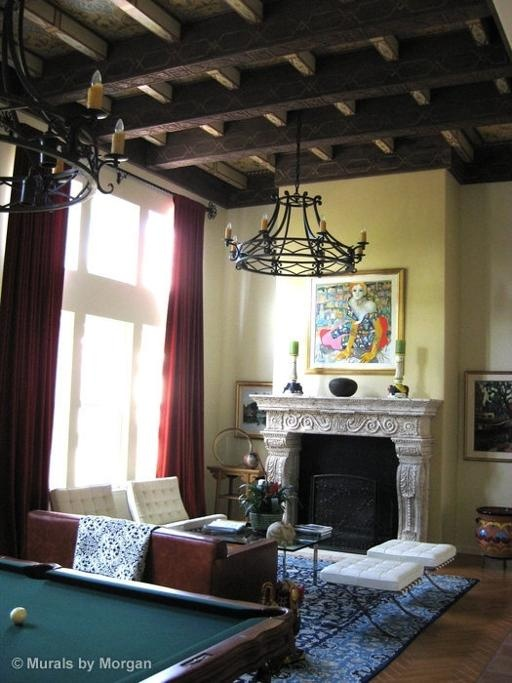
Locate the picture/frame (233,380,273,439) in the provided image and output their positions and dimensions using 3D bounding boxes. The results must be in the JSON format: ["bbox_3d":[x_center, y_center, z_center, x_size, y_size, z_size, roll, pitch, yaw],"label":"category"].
[{"bbox_3d":[-0.025,0.935,8.287,0.932,0.976,0.083,1,0,38],"label":"picture/frame"}]

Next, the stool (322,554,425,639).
[{"bbox_3d":[0.777,1.872,4.689,0.763,0.304,0.742,1,-8,-8],"label":"stool"}]

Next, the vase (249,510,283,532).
[{"bbox_3d":[0.068,1.651,5.605,0.215,0.118,0.212,-3,-7,27],"label":"vase"}]

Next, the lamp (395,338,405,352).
[{"bbox_3d":[1.663,0.067,6.954,0.122,0.179,0.307,1,-8,13],"label":"lamp"}]

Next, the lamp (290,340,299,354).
[{"bbox_3d":[0.479,0.072,7.481,0.145,0.141,0.134,1,-2,-17],"label":"lamp"}]

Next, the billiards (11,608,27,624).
[{"bbox_3d":[-0.792,0.916,2.017,0.040,0.045,0.040,-25,-55,27],"label":"billiards"}]

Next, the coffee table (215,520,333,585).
[{"bbox_3d":[0.248,1.877,5.704,0.725,0.307,0.664,11,2,-25],"label":"coffee table"}]

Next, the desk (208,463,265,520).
[{"bbox_3d":[-0.226,2.018,8.013,0.784,0.675,0.567,-2,-14,26],"label":"desk"}]
